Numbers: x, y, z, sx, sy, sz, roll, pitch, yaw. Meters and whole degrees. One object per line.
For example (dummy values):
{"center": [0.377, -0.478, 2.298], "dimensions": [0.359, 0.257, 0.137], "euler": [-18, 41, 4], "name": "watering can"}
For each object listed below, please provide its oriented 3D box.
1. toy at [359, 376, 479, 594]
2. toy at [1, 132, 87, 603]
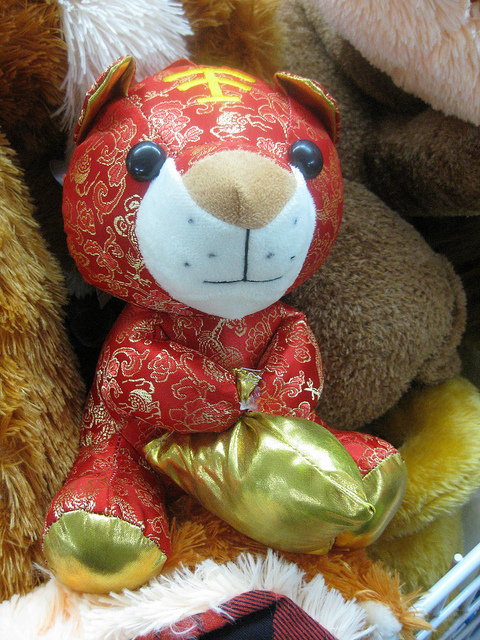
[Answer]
{"center": [0.220, 0.200, 0.798], "dimensions": [0.190, 0.086, 0.219], "euler": [0, 48, 10], "name": "toy"}
{"center": [-0.198, 0.038, 0.632], "dimensions": [0.109, 0.162, 0.396], "euler": [0, 95, -16], "name": "toy"}
